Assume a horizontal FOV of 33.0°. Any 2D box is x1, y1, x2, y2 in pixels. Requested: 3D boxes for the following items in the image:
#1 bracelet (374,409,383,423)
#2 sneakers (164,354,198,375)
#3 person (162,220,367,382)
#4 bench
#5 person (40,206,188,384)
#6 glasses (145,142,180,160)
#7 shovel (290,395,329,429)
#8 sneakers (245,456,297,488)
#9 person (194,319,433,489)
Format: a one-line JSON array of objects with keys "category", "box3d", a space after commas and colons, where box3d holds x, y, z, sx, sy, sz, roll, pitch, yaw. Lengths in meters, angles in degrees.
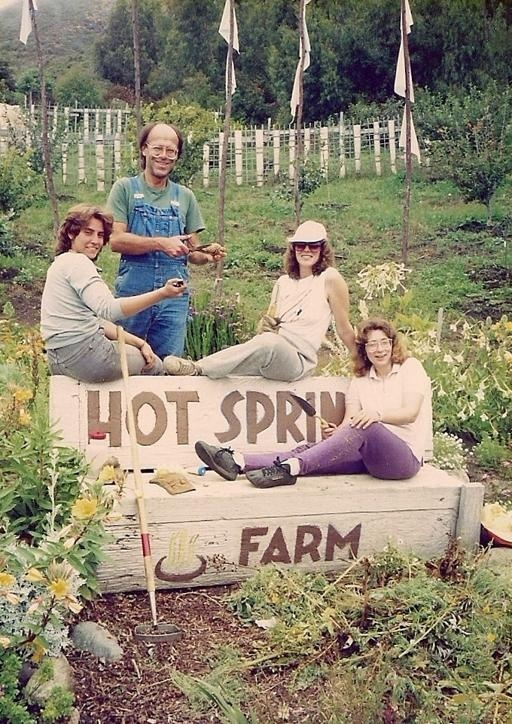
[{"category": "bracelet", "box3d": [0.630, 0.284, 4.422, 0.052, 0.054, 0.060, 0, 3, 9]}, {"category": "sneakers", "box3d": [-0.446, 0.017, 4.969, 0.105, 0.079, 0.241, 12, 7, 41]}, {"category": "person", "box3d": [0.046, -0.335, 5.128, 1.335, 0.889, 0.554, -14, 28, -36]}, {"category": "bench", "box3d": [0.018, 0.612, 4.521, 2.130, 0.950, 1.363, -1, 8, -12]}, {"category": "person", "box3d": [-0.820, -0.328, 4.506, 0.433, 0.976, 0.846, -5, 10, -34]}, {"category": "glasses", "box3d": [-0.563, -1.300, 5.354, 0.212, 0.083, 0.156, -2, 8, -21]}, {"category": "shovel", "box3d": [0.325, 0.336, 5.139, 0.048, 0.351, 0.088, -50, 33, -15]}, {"category": "sneakers", "box3d": [0.079, 0.560, 4.390, 0.275, 0.125, 0.099, 1, 44, -40]}, {"category": "person", "box3d": [0.353, 0.224, 4.640, 1.334, 0.823, 0.623, -5, 7, -24]}]
